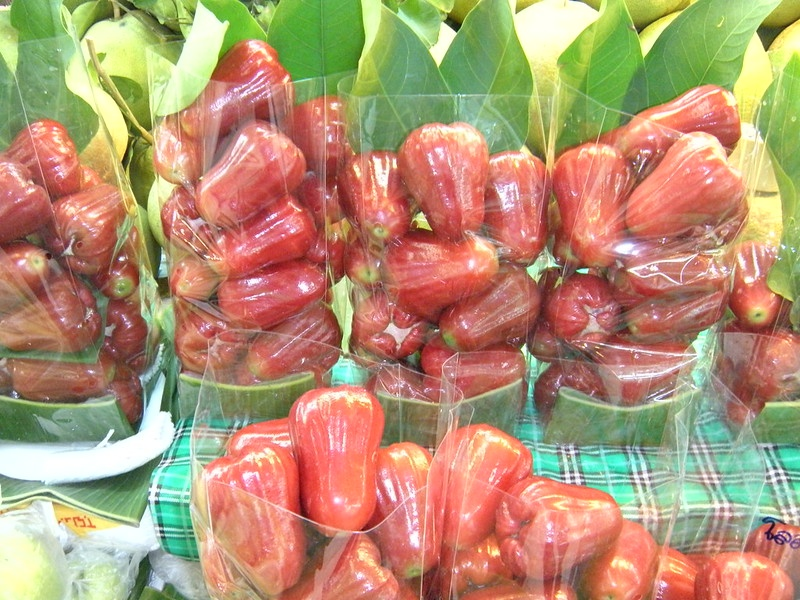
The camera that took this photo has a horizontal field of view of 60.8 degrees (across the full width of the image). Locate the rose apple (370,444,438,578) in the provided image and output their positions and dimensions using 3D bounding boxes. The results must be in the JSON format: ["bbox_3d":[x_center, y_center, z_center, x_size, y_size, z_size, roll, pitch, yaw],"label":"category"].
[{"bbox_3d":[0.003,0.244,0.800,0.075,0.072,0.161,3,57,-14],"label":"rose apple"}]

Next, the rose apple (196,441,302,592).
[{"bbox_3d":[-0.161,0.241,0.747,0.087,0.093,0.144,-30,71,9],"label":"rose apple"}]

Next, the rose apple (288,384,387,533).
[{"bbox_3d":[-0.075,0.185,0.804,0.100,0.111,0.182,-3,82,29],"label":"rose apple"}]
